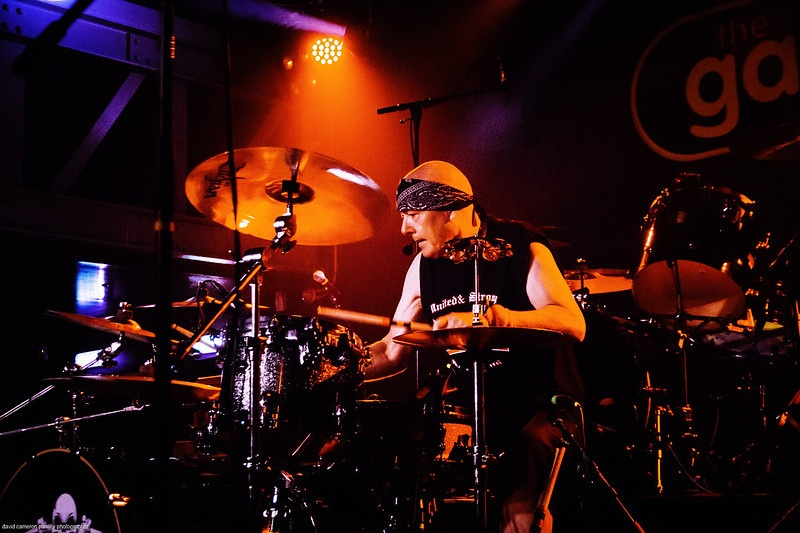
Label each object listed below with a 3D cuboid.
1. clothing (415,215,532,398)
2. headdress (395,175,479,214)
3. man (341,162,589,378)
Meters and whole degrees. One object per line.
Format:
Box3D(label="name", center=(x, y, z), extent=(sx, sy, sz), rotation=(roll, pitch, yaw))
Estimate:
Box3D(label="clothing", center=(0.615, 0.382, 5.900), extent=(1.180, 1.113, 1.105), rotation=(-1, -14, 5))
Box3D(label="headdress", center=(0.228, -0.490, 5.549), extent=(0.507, 0.225, 0.412), rotation=(-6, 8, -28))
Box3D(label="man", center=(0.467, -0.010, 5.694), extent=(1.122, 1.352, 1.769), rotation=(11, -19, -41))
